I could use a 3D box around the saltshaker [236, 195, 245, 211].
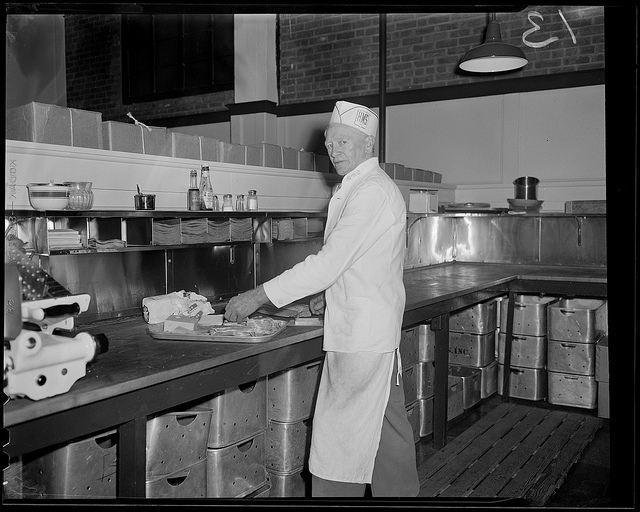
[{"bbox_3d":[-0.511,-0.338,3.390,0.052,0.091,0.084,-4,6,-10],"label":"saltshaker"}]

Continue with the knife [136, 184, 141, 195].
[{"bbox_3d":[-1.032,-0.382,3.009,0.015,0.047,0.021,-5,6,-20],"label":"knife"}]

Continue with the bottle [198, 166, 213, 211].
[{"bbox_3d":[-0.698,-0.414,3.233,0.076,0.266,0.274,-4,6,-11],"label":"bottle"}]

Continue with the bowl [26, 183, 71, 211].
[{"bbox_3d":[-1.239,-0.269,2.406,0.133,0.097,0.129,0,5,0],"label":"bowl"}]

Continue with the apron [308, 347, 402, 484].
[{"bbox_3d":[0.164,0.713,2.344,0.410,0.667,0.352,9,-9,8],"label":"apron"}]

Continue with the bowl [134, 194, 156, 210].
[{"bbox_3d":[-0.936,-0.280,2.838,0.083,0.073,0.090,-1,0,0],"label":"bowl"}]

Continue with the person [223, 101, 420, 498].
[{"bbox_3d":[0.011,0.330,2.532,0.878,1.981,0.657,-2,5,-36],"label":"person"}]

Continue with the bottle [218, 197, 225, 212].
[{"bbox_3d":[-0.631,-0.333,3.388,0.045,0.081,0.159,-4,6,-9],"label":"bottle"}]

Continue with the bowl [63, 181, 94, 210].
[{"bbox_3d":[-1.145,-0.283,2.539,0.120,0.138,0.127,0,-5,0],"label":"bowl"}]

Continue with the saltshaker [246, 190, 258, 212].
[{"bbox_3d":[-0.453,-0.366,3.477,0.070,0.133,0.228,-4,6,-9],"label":"saltshaker"}]

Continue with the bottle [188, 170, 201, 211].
[{"bbox_3d":[-0.757,-0.392,3.177,0.064,0.236,0.297,-4,6,-14],"label":"bottle"}]
